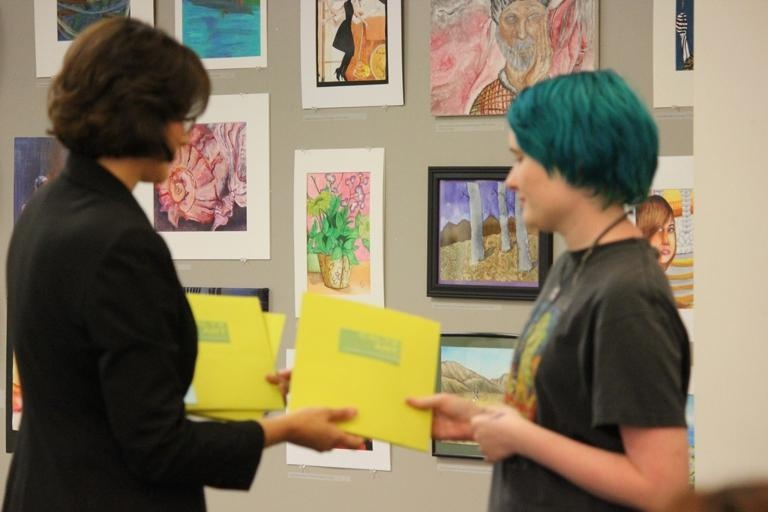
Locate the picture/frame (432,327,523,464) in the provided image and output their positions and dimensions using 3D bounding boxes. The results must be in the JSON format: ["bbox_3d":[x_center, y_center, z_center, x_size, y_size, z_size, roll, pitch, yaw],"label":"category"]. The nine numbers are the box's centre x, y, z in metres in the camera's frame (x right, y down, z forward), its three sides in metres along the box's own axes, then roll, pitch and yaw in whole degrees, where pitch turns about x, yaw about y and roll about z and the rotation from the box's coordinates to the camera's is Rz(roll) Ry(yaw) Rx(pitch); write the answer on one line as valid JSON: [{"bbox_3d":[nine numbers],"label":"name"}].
[{"bbox_3d":[0.330,0.502,3.395,0.343,0.479,0.026,-1,22,-5],"label":"picture/frame"}]

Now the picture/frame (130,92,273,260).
[{"bbox_3d":[-0.592,-0.280,3.141,0.545,0.622,0.043,1,6,11],"label":"picture/frame"}]

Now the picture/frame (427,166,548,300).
[{"bbox_3d":[0.372,-0.080,3.193,0.421,0.515,0.036,0,1,13],"label":"picture/frame"}]

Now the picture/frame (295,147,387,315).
[{"bbox_3d":[-0.173,-0.096,3.436,0.338,0.657,0.012,1,30,-2],"label":"picture/frame"}]
